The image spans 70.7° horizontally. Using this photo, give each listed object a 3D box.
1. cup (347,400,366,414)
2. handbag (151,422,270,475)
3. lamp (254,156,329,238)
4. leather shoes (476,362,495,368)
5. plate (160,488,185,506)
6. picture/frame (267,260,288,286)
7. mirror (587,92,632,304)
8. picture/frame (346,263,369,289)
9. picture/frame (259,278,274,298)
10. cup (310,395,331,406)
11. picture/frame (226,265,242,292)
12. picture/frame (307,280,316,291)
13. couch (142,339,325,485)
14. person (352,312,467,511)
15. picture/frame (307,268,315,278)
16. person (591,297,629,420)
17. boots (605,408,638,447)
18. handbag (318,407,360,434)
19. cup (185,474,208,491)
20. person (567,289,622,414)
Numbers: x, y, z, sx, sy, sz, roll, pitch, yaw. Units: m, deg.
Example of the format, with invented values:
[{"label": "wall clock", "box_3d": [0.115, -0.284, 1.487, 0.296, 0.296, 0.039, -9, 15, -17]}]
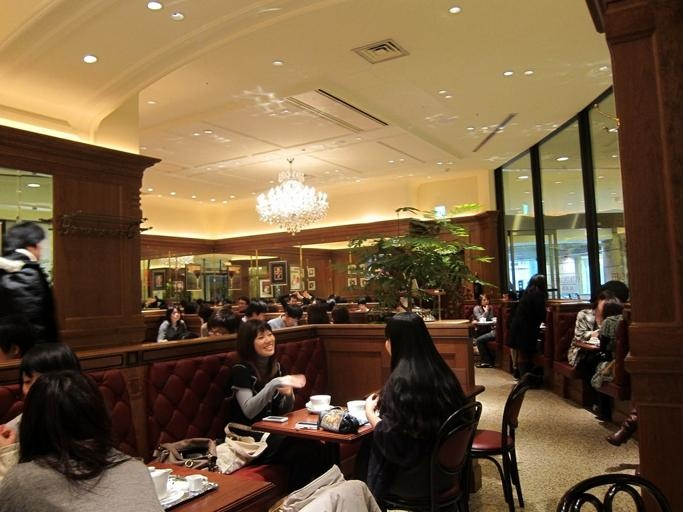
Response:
[{"label": "cup", "box_3d": [0.092, 1.009, 3.250, 0.095, 0.064, 0.086, 1, -3, 28]}, {"label": "handbag", "box_3d": [-0.852, 1.326, 3.315, 0.362, 0.162, 0.519, -4, -10, 30]}, {"label": "lamp", "box_3d": [-1.239, -1.267, 11.573, 1.683, 2.144, 1.614, 2, -7, -19]}, {"label": "leather shoes", "box_3d": [2.878, 2.223, 9.734, 0.328, 0.111, 0.115, 6, -17, 2]}, {"label": "plate", "box_3d": [-0.747, 1.055, 2.115, 0.070, 0.013, 0.068, 5, 12, 12]}, {"label": "picture/frame", "box_3d": [-1.713, 0.482, 12.862, 0.692, 0.743, 0.099, -3, -8, 19]}, {"label": "mirror", "box_3d": [4.341, -1.028, 7.908, 0.243, 2.832, 0.963, -3, -1, 16]}, {"label": "picture/frame", "box_3d": [0.176, 0.226, 5.302, 0.292, 0.259, 0.040, 3, 7, 41]}, {"label": "picture/frame", "box_3d": [-2.031, 0.894, 12.988, 0.579, 0.706, 0.051, 0, -5, 3]}, {"label": "cup", "box_3d": [-0.143, 1.018, 3.403, 0.095, 0.057, 0.096, 2, -17, 1]}, {"label": "picture/frame", "box_3d": [-2.750, 0.570, 12.149, 0.116, 0.957, 0.709, 1, 2, 19]}, {"label": "picture/frame", "box_3d": [-0.892, 0.859, 13.678, 0.270, 0.332, 0.035, 8, -19, -31]}, {"label": "couch", "box_3d": [-0.795, 0.921, 3.743, 0.833, 0.982, 1.623, -10, -8, 40]}, {"label": "person", "box_3d": [0.416, 0.893, 2.756, 0.576, 0.733, 0.311, -2, -1, 13]}, {"label": "picture/frame", "box_3d": [-0.905, 0.507, 13.823, 0.280, 0.318, 0.025, 7, -26, -30]}, {"label": "person", "box_3d": [2.994, 1.237, 5.427, 0.356, 1.260, 1.382, -3, -2, 28]}, {"label": "boots", "box_3d": [2.704, 1.677, 4.673, 0.337, 0.213, 0.113, -10, 14, -3]}, {"label": "handbag", "box_3d": [-0.023, 1.013, 2.973, 0.131, 0.069, 0.170, 5, -7, -33]}, {"label": "cup", "box_3d": [-0.675, 1.038, 2.205, 0.080, 0.049, 0.052, 2, -10, -14]}, {"label": "person", "box_3d": [3.222, 1.197, 6.018, 0.692, 1.496, 0.789, 7, -9, -2]}]
